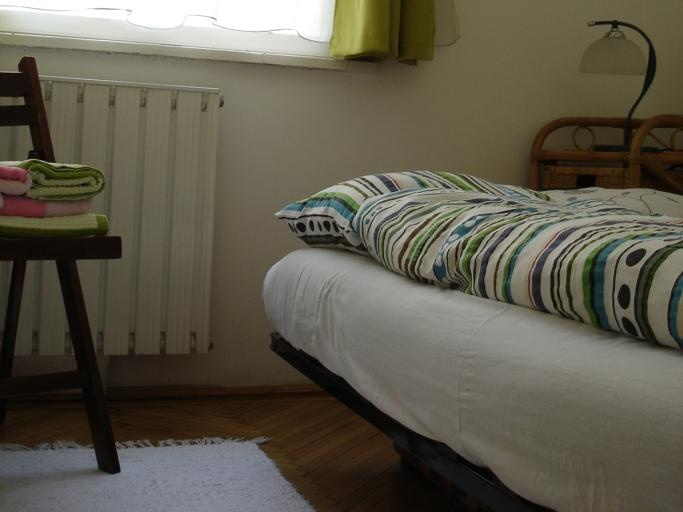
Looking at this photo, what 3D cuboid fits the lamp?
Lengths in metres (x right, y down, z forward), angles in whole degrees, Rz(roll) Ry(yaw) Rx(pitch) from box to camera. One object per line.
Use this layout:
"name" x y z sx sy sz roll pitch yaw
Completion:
"lamp" 1.146 -0.740 2.247 0.264 0.698 0.584 3 -5 28
